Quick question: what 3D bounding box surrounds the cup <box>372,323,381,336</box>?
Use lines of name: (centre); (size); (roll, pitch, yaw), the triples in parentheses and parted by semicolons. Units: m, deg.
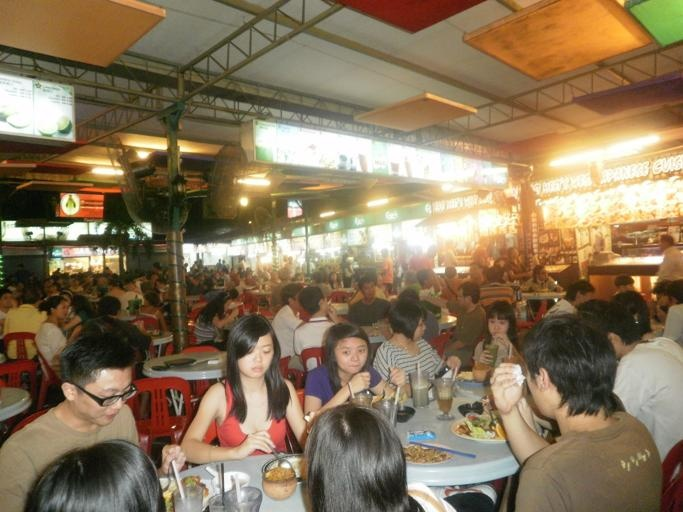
cup: (0.442, 0.901, 6.539); (0.108, 0.114, 0.106); (-5, -9, -1)

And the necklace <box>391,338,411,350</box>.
necklace: (0.518, 0.746, 4.568); (0.130, 0.075, 0.098); (14, -10, 46)

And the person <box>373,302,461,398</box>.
person: (0.651, 0.863, 4.485); (0.683, 0.893, 0.651); (-1, 2, -28)

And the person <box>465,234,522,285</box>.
person: (3.728, 0.073, 12.771); (1.152, 1.101, 3.508); (0, 13, 15)

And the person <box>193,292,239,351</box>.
person: (-1.696, 0.894, 7.447); (0.664, 0.835, 0.570); (13, -1, -2)

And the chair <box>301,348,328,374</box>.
chair: (-0.278, 1.080, 5.477); (0.240, 0.344, 0.357); (-2, -8, 5)

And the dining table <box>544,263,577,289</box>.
dining table: (4.705, 0.448, 11.377); (0.578, 0.429, 0.571); (0, 19, 11)

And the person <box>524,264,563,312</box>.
person: (3.994, 0.914, 10.563); (0.682, 1.452, 0.468); (-7, 13, 3)

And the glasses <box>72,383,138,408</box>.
glasses: (-1.387, 0.811, 3.128); (0.335, 0.131, 0.147); (-3, -1, -28)
